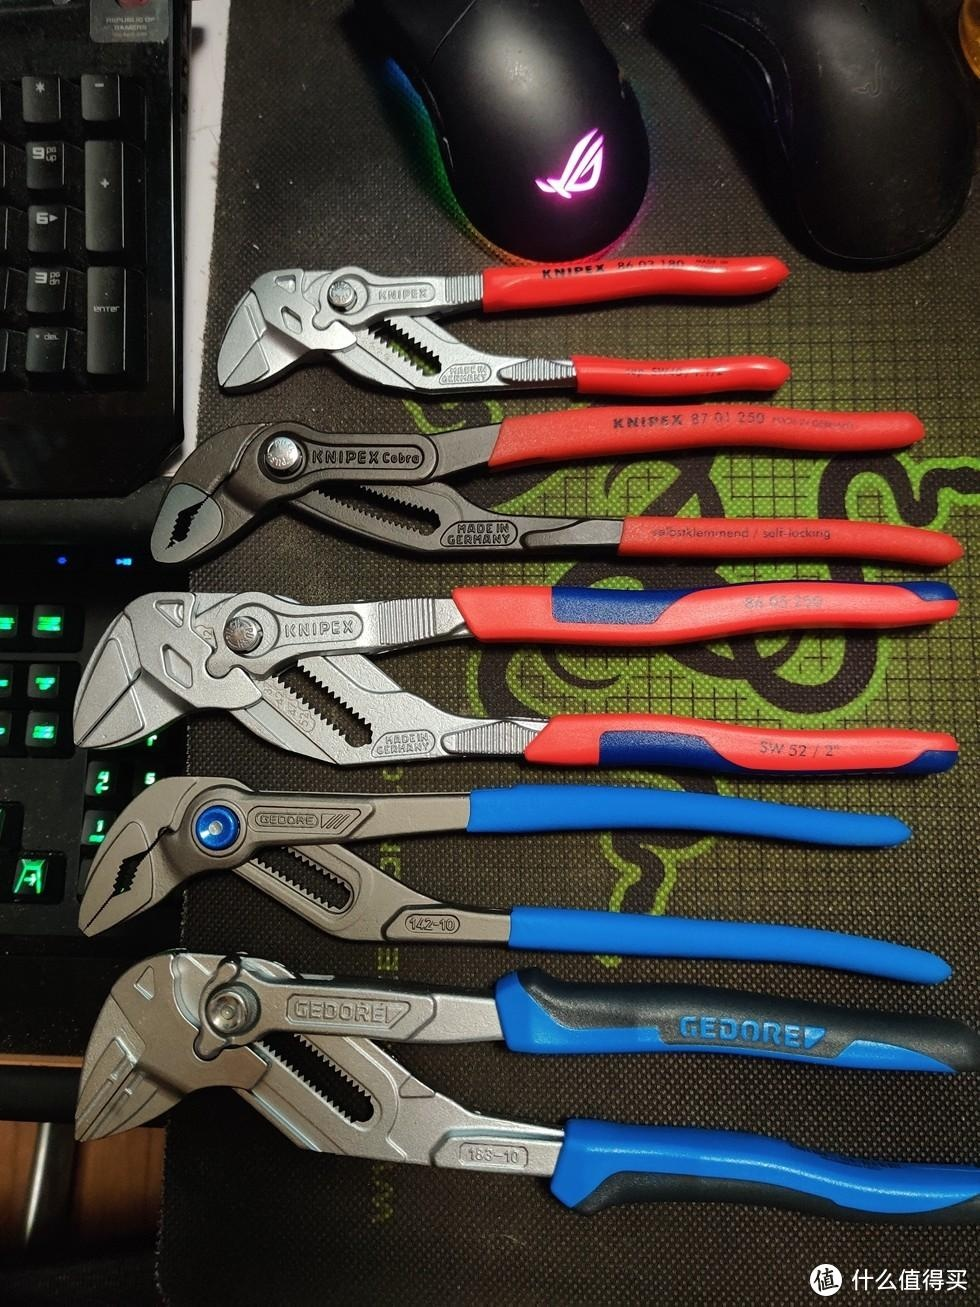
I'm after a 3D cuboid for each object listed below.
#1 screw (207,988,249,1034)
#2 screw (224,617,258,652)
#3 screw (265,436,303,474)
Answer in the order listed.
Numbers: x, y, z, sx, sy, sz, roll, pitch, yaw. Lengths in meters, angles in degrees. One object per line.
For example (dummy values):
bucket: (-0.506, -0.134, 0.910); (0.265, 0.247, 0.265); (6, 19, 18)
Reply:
screw: (-0.188, 0.258, 0.881); (0.030, 0.010, 0.028); (8, 87, 10)
screw: (-0.188, -0.015, 0.930); (0.022, 0.007, 0.027); (3, 86, -2)
screw: (-0.160, -0.152, 0.950); (0.030, 0.019, 0.026); (0, 58, -7)
